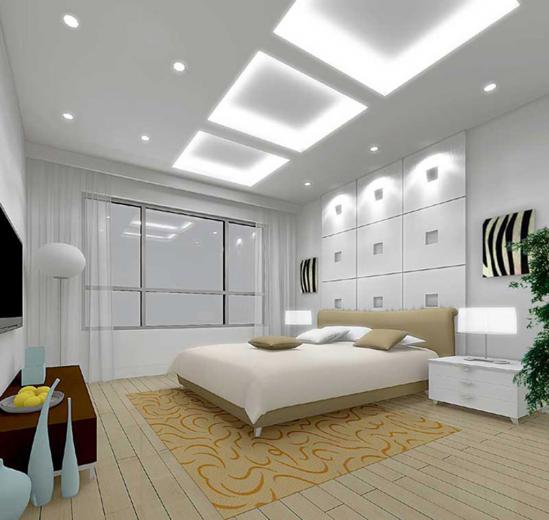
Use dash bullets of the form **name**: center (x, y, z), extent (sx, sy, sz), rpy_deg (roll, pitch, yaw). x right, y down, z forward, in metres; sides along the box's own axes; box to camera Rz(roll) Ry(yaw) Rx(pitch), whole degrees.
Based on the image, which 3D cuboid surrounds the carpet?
- **carpet**: center (0.113, 1.457, 3.224), extent (2.171, 0.028, 2.129), rpy_deg (3, -7, -32)

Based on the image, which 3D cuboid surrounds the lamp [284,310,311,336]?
- **lamp**: center (0.449, 1.132, 6.525), extent (0.720, 0.517, 0.395), rpy_deg (-6, -10, 43)

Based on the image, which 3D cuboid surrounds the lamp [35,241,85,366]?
- **lamp**: center (-2.430, 0.567, 4.209), extent (0.453, 1.469, 0.869), rpy_deg (1, -5, -22)

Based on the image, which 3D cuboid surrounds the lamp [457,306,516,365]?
- **lamp**: center (2.153, 0.790, 3.645), extent (0.185, 0.651, 0.496), rpy_deg (9, -10, -37)

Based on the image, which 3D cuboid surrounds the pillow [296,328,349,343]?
- **pillow**: center (0.663, 0.995, 4.657), extent (0.317, 0.106, 0.331), rpy_deg (-2, -10, -42)

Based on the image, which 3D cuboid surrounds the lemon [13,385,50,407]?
- **lemon**: center (-1.481, 0.872, 2.240), extent (0.175, 0.069, 0.179), rpy_deg (2, -1, 36)

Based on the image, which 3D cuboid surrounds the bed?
- **bed**: center (0.459, 1.098, 3.487), extent (1.776, 0.753, 1.566), rpy_deg (6, -11, -30)
